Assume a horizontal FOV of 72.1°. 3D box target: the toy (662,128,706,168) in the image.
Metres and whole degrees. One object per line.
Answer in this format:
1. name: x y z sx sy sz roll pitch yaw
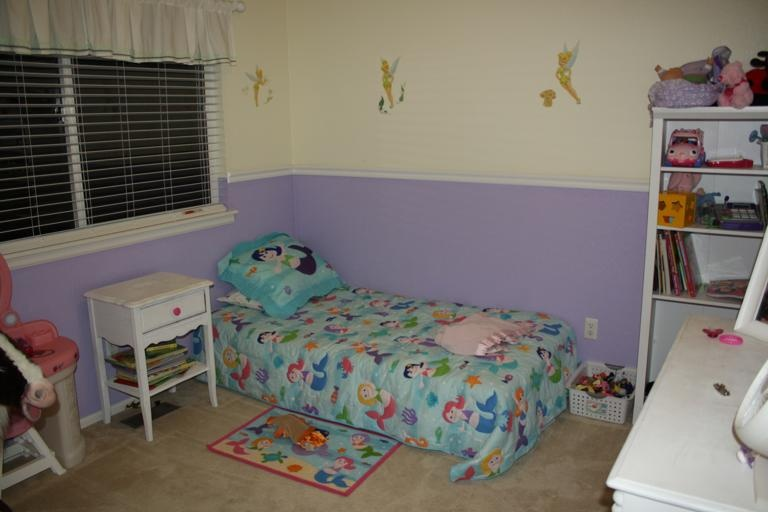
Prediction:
1. toy: 1.809 -0.654 3.167 0.214 0.208 0.215 5 19 20

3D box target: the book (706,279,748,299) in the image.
1. book: 2.080 0.198 3.193 0.162 0.044 0.166 6 20 37

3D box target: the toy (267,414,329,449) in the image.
1. toy: -0.515 1.072 3.231 0.249 0.069 0.177 18 14 22

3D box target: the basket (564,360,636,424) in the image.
1. basket: 1.492 0.869 3.532 0.317 0.153 0.421 5 12 30

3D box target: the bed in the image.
1. bed: 0.000 0.707 3.374 1.632 0.405 1.151 8 21 27

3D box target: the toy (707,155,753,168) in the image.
1. toy: 1.999 -0.539 3.050 0.153 0.046 0.112 5 9 33

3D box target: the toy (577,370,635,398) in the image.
1. toy: 1.469 0.859 3.499 0.202 0.066 0.207 3 11 32

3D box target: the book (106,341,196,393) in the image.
1. book: -1.444 0.672 3.357 0.335 0.110 0.314 -14 21 -43

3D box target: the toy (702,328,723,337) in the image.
1. toy: 1.529 0.352 2.452 0.063 0.024 0.035 0 11 37

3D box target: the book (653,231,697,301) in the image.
1. book: 1.783 0.043 3.220 0.248 0.386 0.114 8 20 26

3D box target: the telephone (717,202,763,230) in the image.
1. telephone: 2.115 -0.237 3.125 0.231 0.115 0.291 9 20 29

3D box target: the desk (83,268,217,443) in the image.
1. desk: -1.486 0.610 3.428 0.541 0.886 0.680 14 23 40
